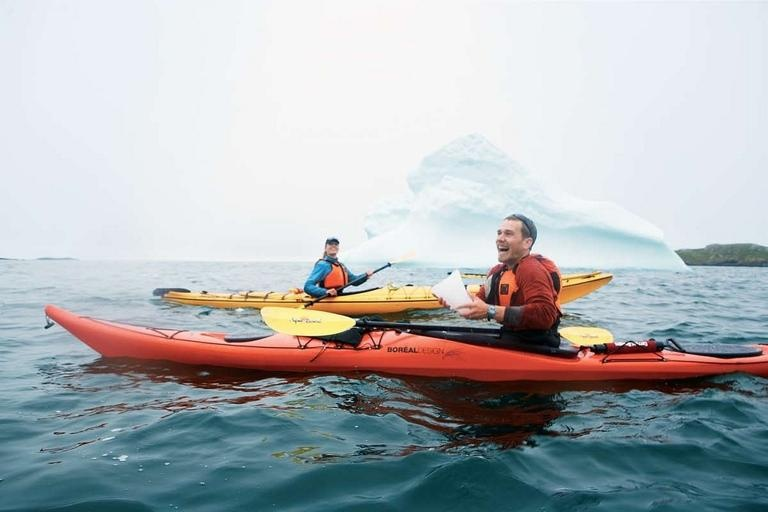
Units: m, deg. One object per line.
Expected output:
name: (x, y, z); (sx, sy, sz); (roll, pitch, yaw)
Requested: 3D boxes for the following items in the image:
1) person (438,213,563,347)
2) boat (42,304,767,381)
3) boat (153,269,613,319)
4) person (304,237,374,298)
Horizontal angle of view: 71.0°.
person: (1.599, 0.305, 6.257); (0.900, 1.572, 0.865); (2, 9, 13)
boat: (0.301, 1.210, 7.404); (9.709, 0.555, 1.235); (0, 6, 6)
boat: (-0.428, 0.828, 11.773); (8.253, 0.512, 1.093); (-2, 5, 8)
person: (-0.952, 0.228, 10.690); (1.074, 0.999, 1.678); (5, 3, 27)
